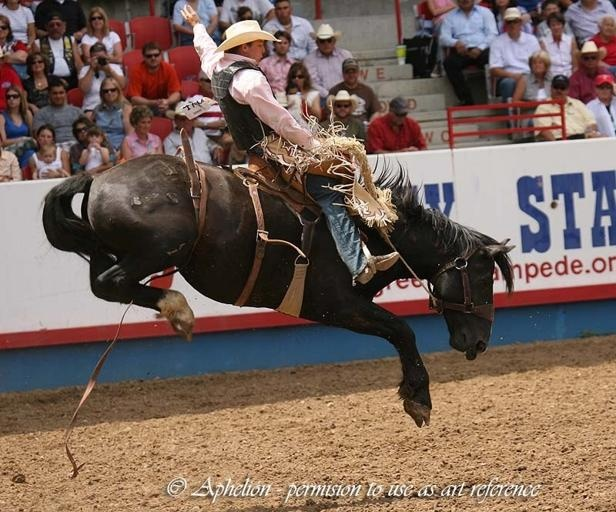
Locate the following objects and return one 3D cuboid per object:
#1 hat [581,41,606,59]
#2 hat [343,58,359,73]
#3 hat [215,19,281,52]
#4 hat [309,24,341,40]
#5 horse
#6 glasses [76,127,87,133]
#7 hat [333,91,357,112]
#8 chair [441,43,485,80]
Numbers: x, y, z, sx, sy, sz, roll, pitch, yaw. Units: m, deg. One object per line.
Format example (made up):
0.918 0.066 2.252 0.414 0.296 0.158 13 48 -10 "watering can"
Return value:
3.693 -2.756 14.135 0.323 0.112 0.344 -2 -7 15 "hat"
0.530 -2.372 13.273 0.194 0.107 0.237 1 -9 1 "hat"
-0.470 -1.765 8.519 0.393 0.124 0.281 -18 9 -11 "hat"
0.258 -2.998 14.322 0.433 0.160 0.444 -1 -12 1 "hat"
-0.200 0.283 8.672 3.431 2.395 0.942 -8 15 -11 "horse"
-2.580 -1.485 12.436 0.105 0.060 0.167 -11 14 -24 "glasses"
0.426 -1.799 12.425 0.332 0.103 0.299 1 -22 1 "hat"
2.152 -2.633 14.646 0.621 0.364 0.221 -5 15 0 "chair"
